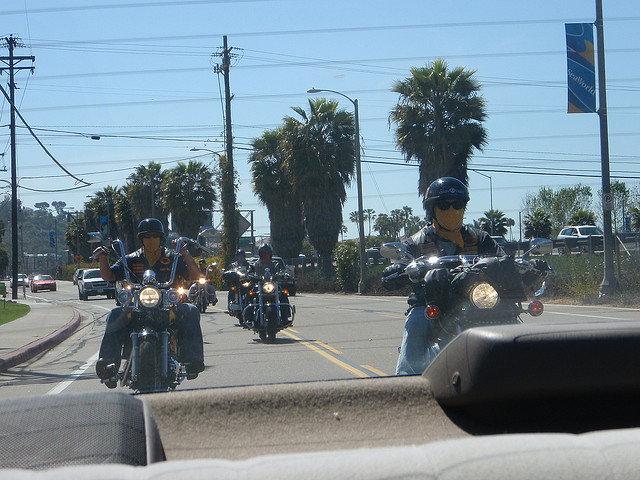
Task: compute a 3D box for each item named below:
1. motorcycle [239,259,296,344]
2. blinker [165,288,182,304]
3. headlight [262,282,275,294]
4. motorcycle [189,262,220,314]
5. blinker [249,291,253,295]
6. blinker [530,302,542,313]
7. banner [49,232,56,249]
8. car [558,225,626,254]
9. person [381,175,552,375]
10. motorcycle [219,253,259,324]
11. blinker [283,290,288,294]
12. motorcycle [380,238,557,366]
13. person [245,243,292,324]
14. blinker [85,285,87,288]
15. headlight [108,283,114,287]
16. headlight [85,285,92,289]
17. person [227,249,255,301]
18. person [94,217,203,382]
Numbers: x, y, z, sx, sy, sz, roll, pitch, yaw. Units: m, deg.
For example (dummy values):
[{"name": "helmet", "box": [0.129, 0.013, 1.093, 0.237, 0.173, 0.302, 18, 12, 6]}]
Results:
[{"name": "motorcycle", "box": [-0.791, 0.927, 13.950, 0.574, 0.890, 1.390, 0, -3, -5]}, {"name": "blinker", "box": [-1.267, 0.480, 7.942, 0.107, 0.130, 0.035, 0, 2, 8]}, {"name": "headlight", "box": [-0.770, 0.703, 13.558, 0.179, 0.160, 0.080, -1, -1, -11]}, {"name": "motorcycle", "box": [-2.663, 0.999, 20.558, 1.014, 1.224, 1.992, 0, -6, -7]}, {"name": "blinker", "box": [-1.058, 0.801, 13.876, 0.045, 0.029, 0.048, 4, 16, 36]}, {"name": "blinker", "box": [1.446, 0.446, 6.100, 0.060, 0.073, 0.030, -6, 7, 6]}, {"name": "banner", "box": [-21.866, -0.088, 74.253, 0.390, 1.184, 1.233, -1, -2, -23]}, {"name": "car", "box": [10.421, -0.005, 35.460, 1.060, 1.065, 2.305, 1, -6, -35]}, {"name": "person", "box": [1.028, 0.169, 6.218, 1.011, 1.223, 1.810, -1, -5, -6]}, {"name": "motorcycle", "box": [-1.310, 0.709, 14.822, 0.659, 0.834, 1.294, 2, -5, -8]}, {"name": "blinker", "box": [-0.532, 0.781, 13.881, 0.043, 0.038, 0.036, 3, -28, 2]}, {"name": "motorcycle", "box": [1.032, 0.402, 6.149, 0.653, 0.721, 1.131, -2, -3, -6]}, {"name": "person", "box": [-0.829, 0.575, 14.194, 0.559, 0.782, 1.236, 0, -7, -4]}, {"name": "blinker", "box": [-9.277, 1.823, 35.986, 0.085, 0.095, 0.088, 1, 2, -7]}, {"name": "headlight", "box": [-8.501, 1.811, 36.956, 0.210, 0.182, 0.233, -2, -8, 5]}, {"name": "headlight", "box": [-9.175, 1.830, 36.026, 0.188, 0.119, 0.184, 0, -5, -25]}, {"name": "person", "box": [-1.306, 0.402, 15.011, 0.478, 0.533, 0.829, 1, -9, -9]}, {"name": "person", "box": [-1.510, 0.455, 8.305, 0.807, 1.577, 0.937, 0, 2, 0]}]
